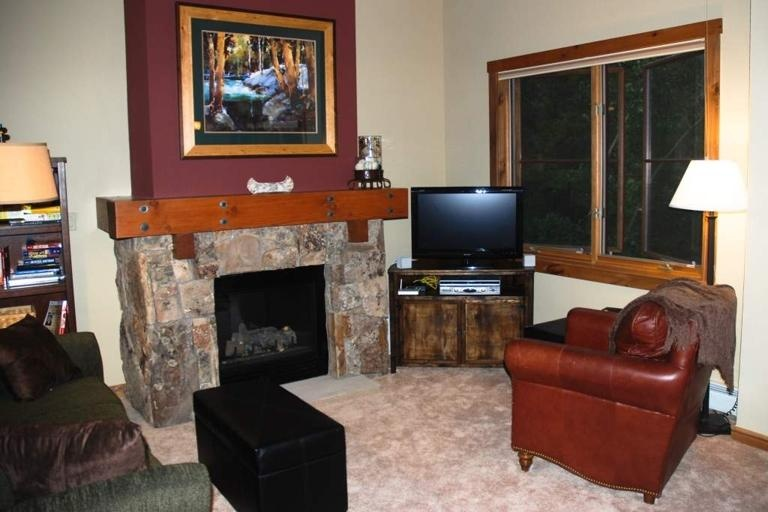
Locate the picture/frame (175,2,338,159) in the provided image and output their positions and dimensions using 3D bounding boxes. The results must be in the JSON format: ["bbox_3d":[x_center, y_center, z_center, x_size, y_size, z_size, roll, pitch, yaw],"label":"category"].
[{"bbox_3d":[-1.105,-1.450,4.721,1.361,1.179,0.056,-4,8,-29],"label":"picture/frame"}]

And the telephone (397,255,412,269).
[{"bbox_3d":[0.187,0.060,5.478,0.113,0.115,0.091,-2,1,0],"label":"telephone"}]

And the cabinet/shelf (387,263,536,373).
[{"bbox_3d":[0.711,0.558,5.492,1.288,1.023,0.497,-1,6,5],"label":"cabinet/shelf"}]

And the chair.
[{"bbox_3d":[1.539,0.618,4.042,1.402,1.400,1.318,6,12,43],"label":"chair"}]
